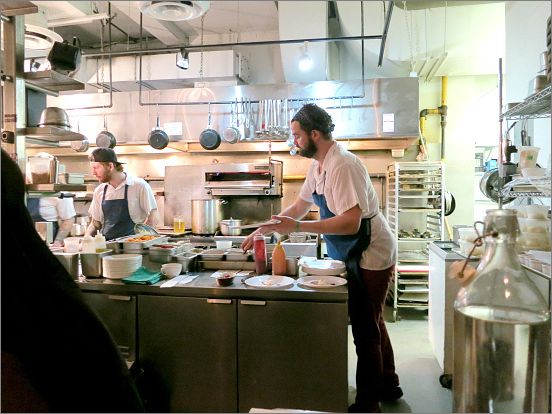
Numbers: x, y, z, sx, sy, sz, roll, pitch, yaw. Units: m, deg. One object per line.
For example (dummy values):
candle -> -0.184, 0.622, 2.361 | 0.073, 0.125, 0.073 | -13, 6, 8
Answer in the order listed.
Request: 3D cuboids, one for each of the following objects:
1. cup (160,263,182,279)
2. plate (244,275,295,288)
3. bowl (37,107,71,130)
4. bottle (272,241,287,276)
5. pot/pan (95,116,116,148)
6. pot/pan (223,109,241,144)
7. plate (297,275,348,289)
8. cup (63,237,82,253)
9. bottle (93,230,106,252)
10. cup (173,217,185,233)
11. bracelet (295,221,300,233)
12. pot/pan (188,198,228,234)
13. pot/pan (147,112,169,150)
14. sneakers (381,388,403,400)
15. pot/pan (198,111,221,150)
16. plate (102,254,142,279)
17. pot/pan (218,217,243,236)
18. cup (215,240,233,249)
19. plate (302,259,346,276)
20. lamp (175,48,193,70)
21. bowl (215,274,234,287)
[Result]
cup -> -0.695, 0.428, 3.272 | 0.109, 0.074, 0.090 | -2, -1, 5
plate -> -0.038, 0.477, 3.098 | 0.292, 0.033, 0.269 | 0, 4, 27
bowl -> -1.392, -0.545, 3.026 | 0.204, 0.154, 0.207 | -2, 3, 0
bottle -> 0.018, 0.349, 3.283 | 0.098, 0.226, 0.128 | -2, 3, 5
pot/pan -> -2.015, -0.865, 5.829 | 0.250, 0.401, 0.062 | -2, 4, 17
pot/pan -> -0.524, -0.958, 5.840 | 0.207, 0.399, 0.263 | -2, 3, 7
plate -> 0.292, 0.474, 3.087 | 0.308, 0.037, 0.235 | -2, 3, 4
cup -> -1.385, 0.262, 3.345 | 0.106, 0.076, 0.126 | -1, 1, -13
bottle -> -1.237, 0.249, 3.453 | 0.071, 0.108, 0.255 | -3, 3, -19
cup -> -0.953, 0.180, 4.838 | 0.144, 0.198, 0.134 | -1, -6, 0
bracelet -> 0.143, 0.132, 3.193 | 0.029, 0.071, 0.052 | -3, 3, -12
pot/pan -> -0.729, 0.119, 5.367 | 0.509, 0.375, 0.320 | 0, -4, -2
pot/pan -> -1.404, -0.906, 5.851 | 0.214, 0.439, 0.400 | -3, 3, -13
sneakers -> 0.859, 1.377, 3.658 | 0.167, 0.101, 0.125 | -2, -5, 9
pot/pan -> -0.792, -0.915, 5.801 | 0.236, 0.486, 0.358 | -3, 3, -9
plate -> -1.020, 0.391, 3.275 | 0.177, 0.102, 0.173 | 0, -2, -3
pot/pan -> -0.482, 0.222, 5.332 | 0.234, 0.152, 0.164 | 0, 2, 15
cup -> -0.402, 0.288, 3.731 | 0.077, 0.045, 0.071 | 4, -4, 0
plate -> 0.336, 0.422, 3.357 | 0.293, 0.072, 0.340 | -2, 3, 9
lamp -> -1.003, -1.613, 5.264 | 0.124, 0.235, 0.306 | -3, 3, -12
bowl -> -0.317, 0.465, 3.100 | 0.103, 0.059, 0.128 | -2, 3, 10
